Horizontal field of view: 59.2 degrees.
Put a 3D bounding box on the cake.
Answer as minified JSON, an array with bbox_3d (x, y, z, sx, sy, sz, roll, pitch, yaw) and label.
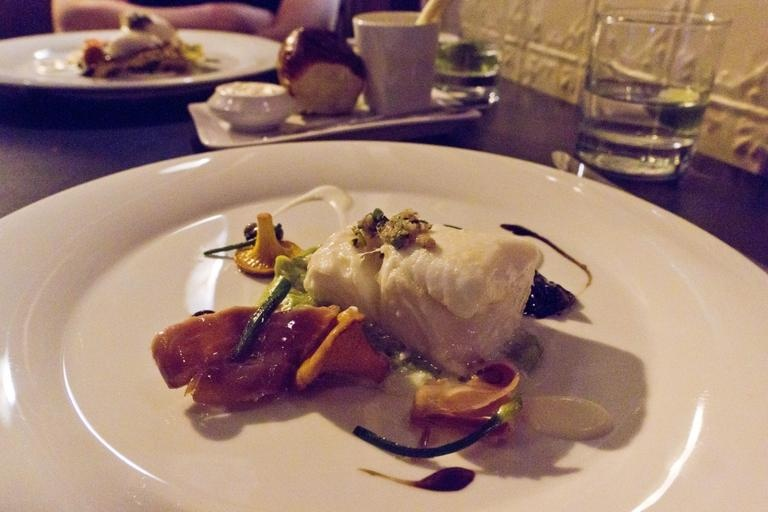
[{"bbox_3d":[-0.233,-0.621,2.428,0.293,0.159,0.286,23,69,-7],"label":"cake"}]

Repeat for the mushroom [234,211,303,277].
[{"bbox_3d":[-0.309,-0.018,1.833,0.172,0.131,0.170,1,30,-7],"label":"mushroom"}]

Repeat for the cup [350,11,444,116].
[{"bbox_3d":[0.016,-0.715,2.499,0.329,0.372,0.353,-2,26,1],"label":"cup"}]
